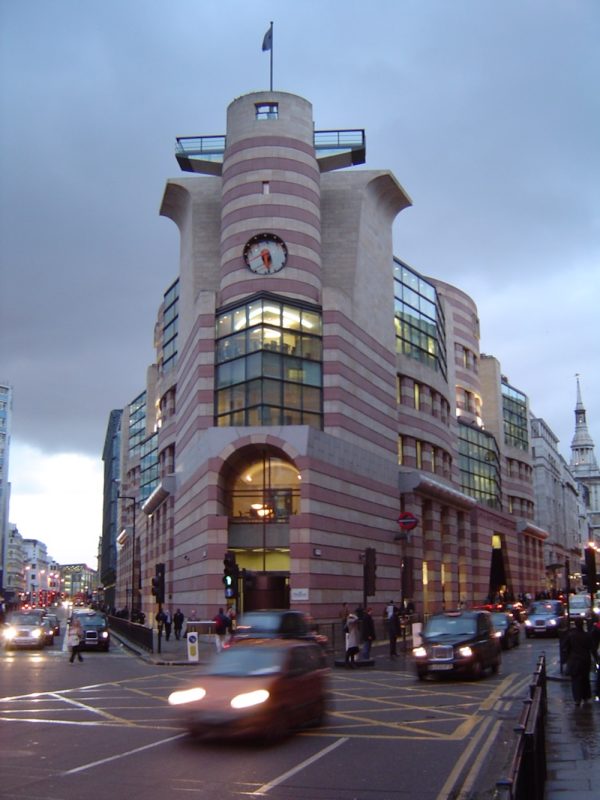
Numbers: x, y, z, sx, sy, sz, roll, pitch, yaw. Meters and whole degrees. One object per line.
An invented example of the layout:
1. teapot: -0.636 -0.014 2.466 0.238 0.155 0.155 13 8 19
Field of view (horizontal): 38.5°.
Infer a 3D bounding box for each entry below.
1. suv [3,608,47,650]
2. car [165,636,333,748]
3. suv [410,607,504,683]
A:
1. suv: -11.956 9.970 37.314 1.614 1.321 2.789 4 -27 -12
2. car: -0.660 4.091 12.083 1.129 1.282 2.610 -8 -15 22
3. suv: 3.669 5.980 20.997 1.436 1.558 2.148 -10 -16 29
